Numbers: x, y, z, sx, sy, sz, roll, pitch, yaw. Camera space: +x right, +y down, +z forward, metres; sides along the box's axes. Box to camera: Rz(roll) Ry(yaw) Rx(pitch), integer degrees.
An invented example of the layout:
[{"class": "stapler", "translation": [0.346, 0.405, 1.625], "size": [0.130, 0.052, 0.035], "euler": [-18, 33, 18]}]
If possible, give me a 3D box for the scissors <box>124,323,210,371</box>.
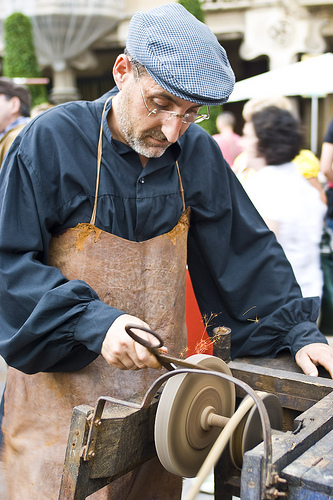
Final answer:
[{"class": "scissors", "translation": [0.010, 0.298, 1.861], "size": [0.101, 0.262, 0.018], "euler": [-32, 15, 51]}]
